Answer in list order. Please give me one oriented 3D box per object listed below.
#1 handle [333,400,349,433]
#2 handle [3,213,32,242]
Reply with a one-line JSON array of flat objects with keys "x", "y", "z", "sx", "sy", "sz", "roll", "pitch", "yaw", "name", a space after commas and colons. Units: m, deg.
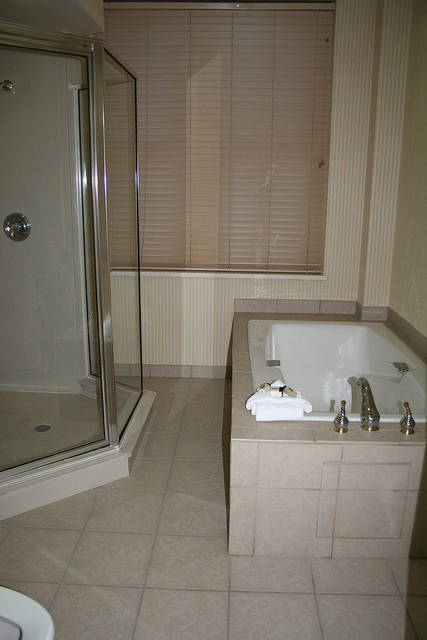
[{"x": 0.435, "y": 0.325, "z": 1.560, "sx": 0.049, "sy": 0.101, "sz": 0.078, "roll": 4, "pitch": 9, "yaw": 18, "name": "handle"}, {"x": -0.740, "y": -0.348, "z": 1.719, "sx": 0.096, "sy": 0.102, "sz": 0.026, "roll": -4, "pitch": 9, "yaw": -26, "name": "handle"}]
